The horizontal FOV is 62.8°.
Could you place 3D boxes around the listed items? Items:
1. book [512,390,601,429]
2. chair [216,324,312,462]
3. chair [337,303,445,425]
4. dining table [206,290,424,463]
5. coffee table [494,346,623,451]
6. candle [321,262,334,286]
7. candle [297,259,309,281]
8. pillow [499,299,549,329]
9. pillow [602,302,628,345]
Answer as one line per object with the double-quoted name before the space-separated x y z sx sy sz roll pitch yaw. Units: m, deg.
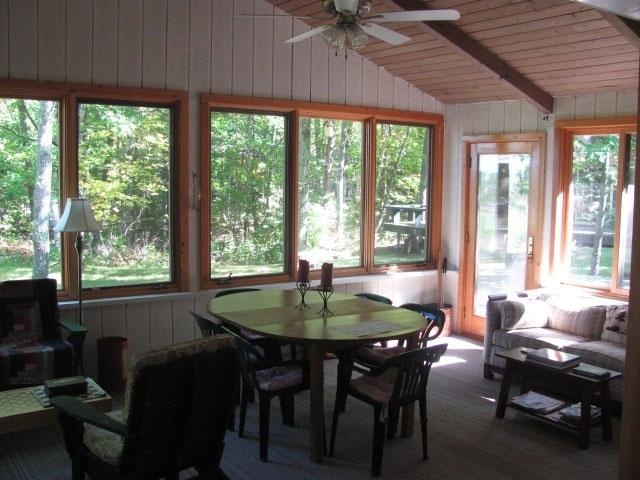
"book" 1.912 1.331 4.301 0.424 0.183 0.572 -6 11 -40
"chair" -0.352 1.108 3.956 0.687 0.812 0.691 0 3 21
"chair" 0.465 1.035 3.612 0.668 0.801 0.638 19 -30 -16
"dining table" 0.104 1.004 4.346 1.141 0.813 1.633 -4 5 -23
"coffee table" 1.958 1.299 4.362 0.450 0.520 0.841 0 2 -35
"candle" 0.056 0.276 4.095 0.076 0.207 0.079 -1 9 -12
"candle" -0.127 0.246 4.200 0.076 0.182 0.113 0 9 -9
"pillow" 2.124 0.741 5.417 0.633 0.311 0.190 0 -4 -25
"pillow" 2.768 0.777 4.932 0.192 0.325 0.262 6 10 29
